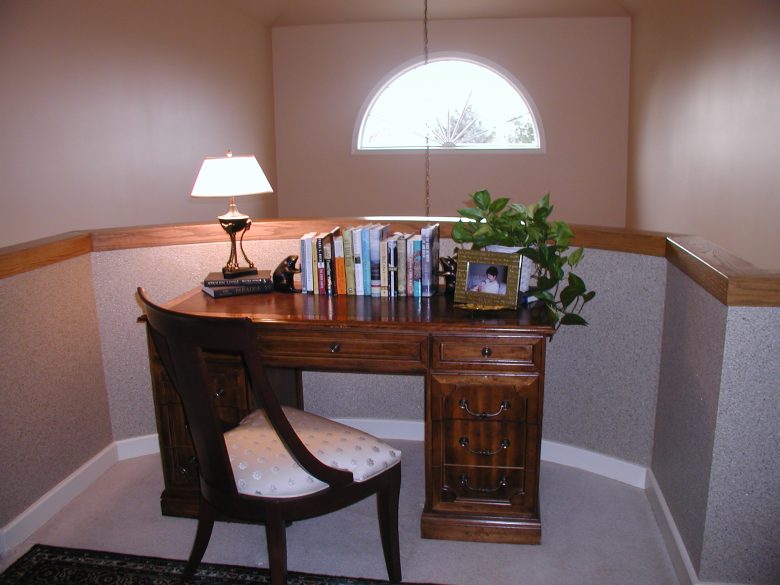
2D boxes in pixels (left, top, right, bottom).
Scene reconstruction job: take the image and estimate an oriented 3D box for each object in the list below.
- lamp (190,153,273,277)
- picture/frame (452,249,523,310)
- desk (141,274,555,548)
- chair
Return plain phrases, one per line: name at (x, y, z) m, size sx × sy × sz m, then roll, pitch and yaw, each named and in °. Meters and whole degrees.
lamp at (-0.715, -0.349, 2.821) m, size 0.355 × 0.531 × 0.359 m, roll -6°, pitch 6°, yaw -21°
picture/frame at (0.403, -0.052, 2.449) m, size 0.213 × 0.201 × 0.029 m, roll 6°, pitch 5°, yaw 15°
desk at (-0.160, 0.474, 2.756) m, size 1.649 × 0.971 × 0.610 m, roll 1°, pitch 19°, yaw 8°
chair at (-0.361, 0.547, 2.136) m, size 0.762 × 1.104 × 0.374 m, roll -9°, pitch 17°, yaw -25°
